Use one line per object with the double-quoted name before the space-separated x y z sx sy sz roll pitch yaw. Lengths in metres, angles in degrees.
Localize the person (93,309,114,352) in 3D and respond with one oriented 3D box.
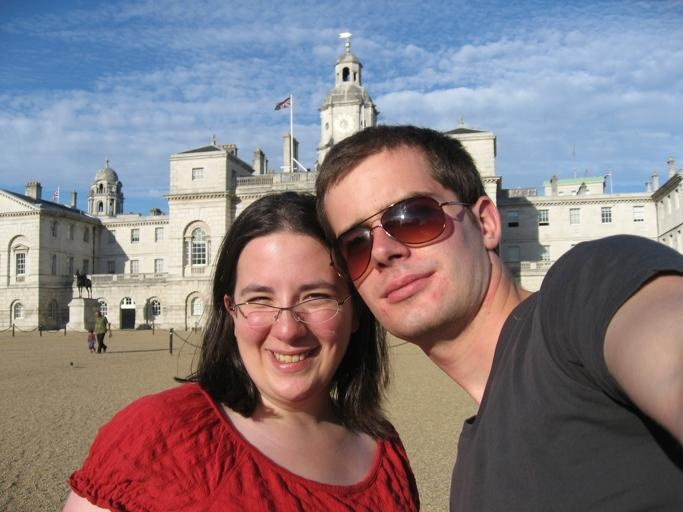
"person" -6.315 1.996 20.595 0.529 1.148 0.491 -4 -7 37
